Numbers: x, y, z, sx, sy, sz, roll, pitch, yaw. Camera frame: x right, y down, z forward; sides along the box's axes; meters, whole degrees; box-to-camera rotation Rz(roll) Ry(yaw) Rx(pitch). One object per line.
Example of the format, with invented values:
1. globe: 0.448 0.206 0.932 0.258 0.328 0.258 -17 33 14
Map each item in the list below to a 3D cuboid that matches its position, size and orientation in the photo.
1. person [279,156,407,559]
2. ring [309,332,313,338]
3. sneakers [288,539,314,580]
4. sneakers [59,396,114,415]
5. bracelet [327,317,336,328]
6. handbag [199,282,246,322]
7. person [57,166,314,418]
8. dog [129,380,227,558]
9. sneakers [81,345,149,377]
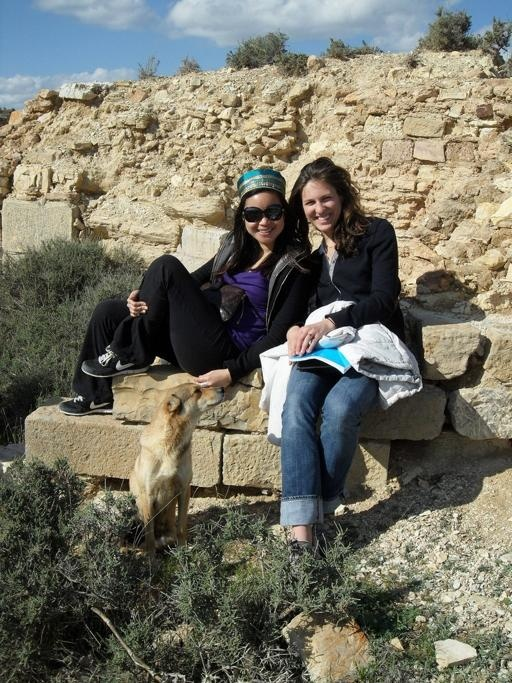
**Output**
1. person: 0.493 0.010 3.244 0.665 2.070 1.386 -1 12 9
2. ring: 0.290 -0.033 3.125 0.020 0.017 0.006 20 8 16
3. sneakers: 0.169 0.898 2.438 0.145 0.087 0.134 4 3 13
4. sneakers: -1.094 0.416 3.914 0.395 0.148 0.132 5 4 -6
5. bracelet: 0.404 -0.100 3.214 0.018 0.044 0.046 -29 -35 14
6. handbag: -0.156 -0.225 3.622 0.255 0.243 0.103 37 14 35
7. person: -0.444 -0.260 3.658 1.444 1.596 0.830 6 22 -10
8. dog: -0.449 0.736 3.096 0.392 0.748 1.277 2 -18 -17
9. sneakers: -0.869 0.129 3.581 0.474 0.196 0.159 2 16 -5
